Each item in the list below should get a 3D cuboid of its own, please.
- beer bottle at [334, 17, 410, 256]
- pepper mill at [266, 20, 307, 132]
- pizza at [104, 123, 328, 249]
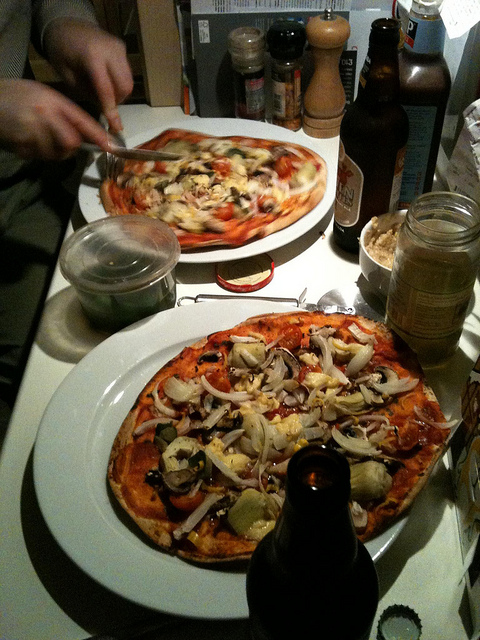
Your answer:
[{"bbox_3d":[0.247,-0.326,0.864,0.123,0.403,0.098,2,46,6],"label":"beer bottle"},{"bbox_3d":[0.144,-0.746,1.432,0.111,0.303,0.113,-26,49,-14],"label":"pepper mill"},{"bbox_3d":[-0.077,-0.345,1.206,0.429,0.074,0.426,-20,47,-20],"label":"pizza"}]
